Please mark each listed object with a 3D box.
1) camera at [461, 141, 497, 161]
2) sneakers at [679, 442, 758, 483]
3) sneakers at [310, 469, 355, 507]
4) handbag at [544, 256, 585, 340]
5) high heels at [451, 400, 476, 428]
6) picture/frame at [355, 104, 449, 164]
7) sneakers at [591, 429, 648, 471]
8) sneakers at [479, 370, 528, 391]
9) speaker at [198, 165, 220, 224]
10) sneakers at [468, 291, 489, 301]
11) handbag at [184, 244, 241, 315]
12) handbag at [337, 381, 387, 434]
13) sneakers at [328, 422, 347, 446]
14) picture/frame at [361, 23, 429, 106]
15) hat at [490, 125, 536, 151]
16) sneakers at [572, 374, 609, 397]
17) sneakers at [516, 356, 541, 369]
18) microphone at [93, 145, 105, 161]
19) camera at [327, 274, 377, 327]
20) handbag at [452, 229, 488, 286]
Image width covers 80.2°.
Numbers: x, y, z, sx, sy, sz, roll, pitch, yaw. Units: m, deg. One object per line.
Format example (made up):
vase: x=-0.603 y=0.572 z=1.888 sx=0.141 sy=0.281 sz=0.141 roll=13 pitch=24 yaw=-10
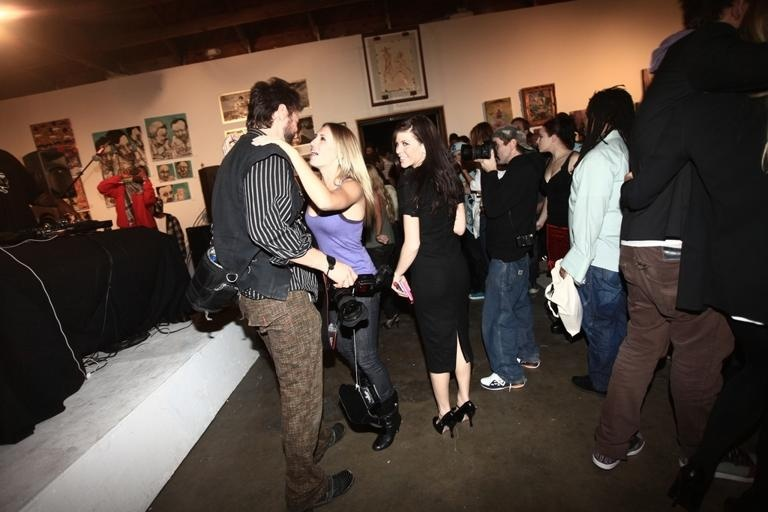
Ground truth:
camera: x=0.773 y=-0.844 z=3.787 sx=0.183 sy=0.103 sz=0.179 roll=0 pitch=-2 yaw=0
sneakers: x=2.188 y=1.373 z=3.035 sx=0.564 sy=0.183 sz=0.207 roll=-7 pitch=2 yaw=3
sneakers: x=-0.333 y=1.626 z=3.279 sx=0.118 sy=0.145 sz=0.359 roll=20 pitch=34 yaw=38
handbag: x=1.366 y=0.343 z=3.467 sx=0.247 sy=0.645 sz=0.370 roll=-3 pitch=17 yaw=23
high heels: x=0.606 y=1.178 z=3.464 sx=0.113 sy=0.155 sz=0.324 roll=-2 pitch=4 yaw=-12
picture/frame: x=0.289 y=-1.982 z=8.497 sx=1.846 sy=1.269 sz=0.156 roll=2 pitch=10 yaw=34
sneakers: x=1.644 y=1.350 z=3.216 sx=0.453 sy=0.169 sz=0.163 roll=-15 pitch=17 yaw=-32
sneakers: x=1.035 y=1.095 z=3.985 sx=0.388 sy=0.159 sz=0.157 roll=1 pitch=4 yaw=5
speaker: x=-2.891 y=-0.996 z=7.729 sx=0.348 sy=0.979 sz=0.861 roll=-15 pitch=17 yaw=-20
sneakers: x=1.184 y=0.529 z=5.830 sx=0.173 sy=0.071 sz=0.249 roll=-7 pitch=16 yaw=7
handbag: x=-1.113 y=0.169 z=2.986 sx=0.388 sy=0.455 sz=0.166 roll=-9 pitch=15 yaw=-2
handbag: x=-0.162 y=1.151 z=3.394 sx=0.271 sy=0.368 sz=0.208 roll=-10 pitch=16 yaw=-5
sneakers: x=-0.375 y=1.430 z=3.665 sx=0.065 sy=0.074 sz=0.178 roll=13 pitch=36 yaw=28
picture/frame: x=0.196 y=-3.250 z=7.794 sx=1.279 sy=1.357 sz=0.143 roll=-9 pitch=10 yaw=2
hat: x=1.155 y=-1.057 z=4.108 sx=0.404 sy=0.204 sz=0.272 roll=6 pitch=5 yaw=8
sneakers: x=1.684 y=1.076 z=3.752 sx=0.096 sy=0.105 sz=0.251 roll=-11 pitch=20 yaw=-34
sneakers: x=1.310 y=0.978 z=4.157 sx=0.226 sy=0.091 sz=0.117 roll=2 pitch=9 yaw=6
microphone: x=-5.093 y=-1.838 z=8.218 sx=0.086 sy=0.304 sz=0.108 roll=21 pitch=-23 yaw=-25
camera: x=-0.221 y=0.290 z=3.147 sx=0.374 sy=0.254 sz=0.573 roll=-6 pitch=22 yaw=-2
handbag: x=0.867 y=-0.001 z=4.535 sx=0.250 sy=0.809 sz=0.262 roll=-15 pitch=35 yaw=5
